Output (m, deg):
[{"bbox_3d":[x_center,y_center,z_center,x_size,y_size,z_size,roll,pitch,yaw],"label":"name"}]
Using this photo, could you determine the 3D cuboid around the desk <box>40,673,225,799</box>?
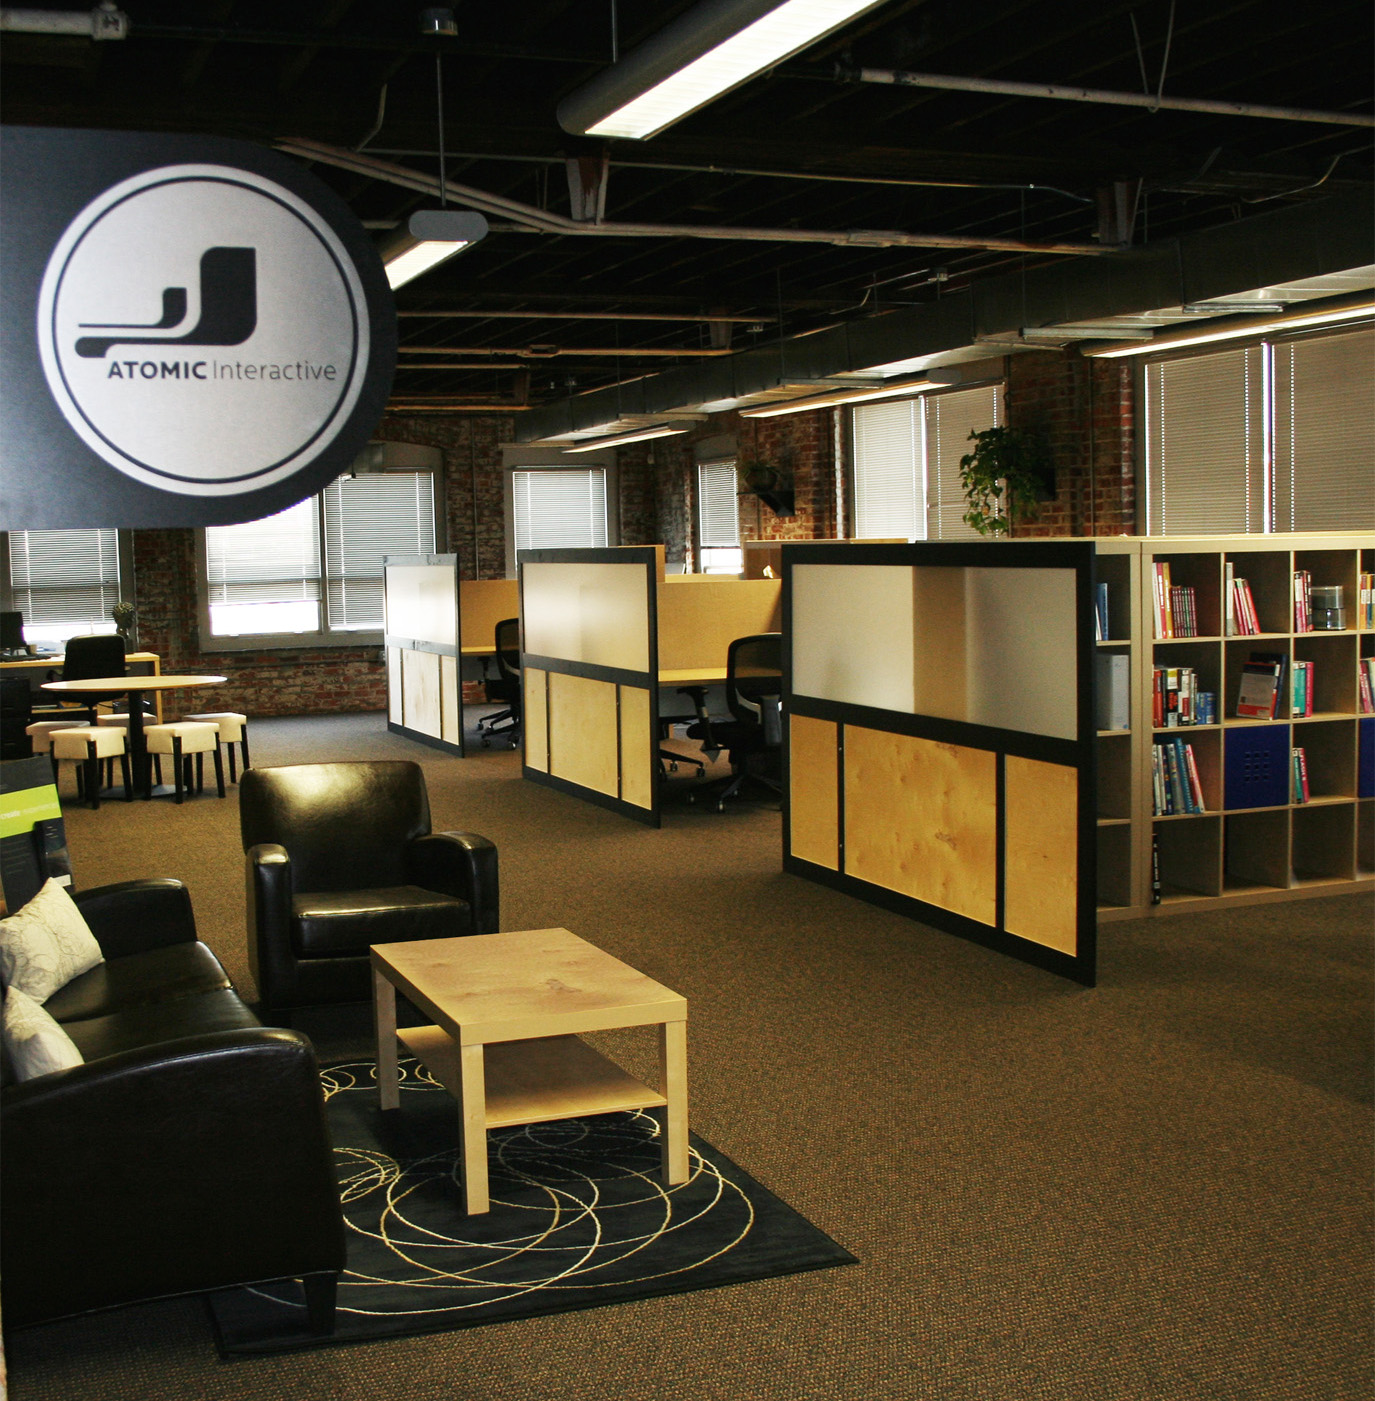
[{"bbox_3d":[-4.810,0.353,10.901,1.385,0.920,1.341,-1,3,-8],"label":"desk"}]

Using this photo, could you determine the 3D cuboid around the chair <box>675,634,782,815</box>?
[{"bbox_3d":[0.338,0.140,9.371,0.673,1.262,1.890,0,4,3],"label":"chair"}]

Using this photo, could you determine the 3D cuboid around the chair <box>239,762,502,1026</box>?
[{"bbox_3d":[-1.336,0.694,5.062,1.025,1.025,1.005,-1,-1,-23],"label":"chair"}]

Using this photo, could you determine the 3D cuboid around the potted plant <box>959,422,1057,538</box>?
[{"bbox_3d":[2.662,-1.871,10.671,0.530,0.957,0.734,-3,5,-31],"label":"potted plant"}]

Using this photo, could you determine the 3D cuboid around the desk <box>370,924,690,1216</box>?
[{"bbox_3d":[-0.413,0.925,3.526,0.582,0.420,0.939,-1,7,-21],"label":"desk"}]

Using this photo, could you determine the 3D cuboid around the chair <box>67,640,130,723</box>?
[{"bbox_3d":[-5.383,-0.226,11.418,0.663,0.913,0.638,-2,11,-20],"label":"chair"}]
